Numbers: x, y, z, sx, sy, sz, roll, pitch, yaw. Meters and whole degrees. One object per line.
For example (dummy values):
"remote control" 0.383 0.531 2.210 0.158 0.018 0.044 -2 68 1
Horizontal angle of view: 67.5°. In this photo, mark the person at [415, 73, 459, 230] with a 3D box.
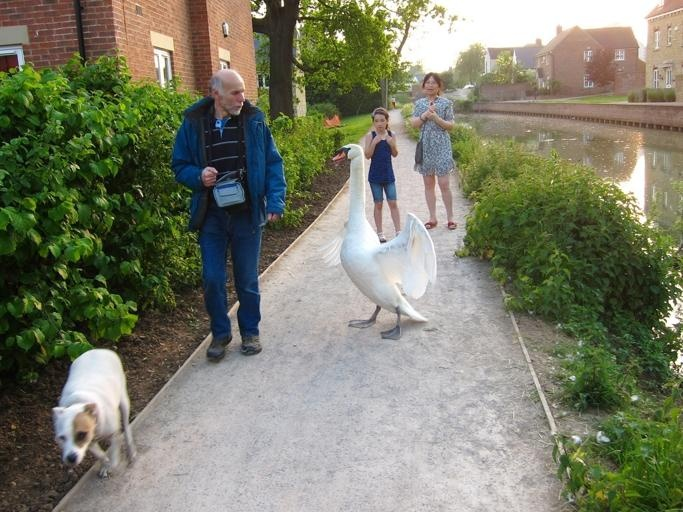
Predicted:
"person" 1.668 -1.843 9.324 0.809 2.651 1.005 0 2 9

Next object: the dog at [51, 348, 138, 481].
"dog" -1.740 1.182 3.603 0.413 0.867 0.830 -5 14 -12

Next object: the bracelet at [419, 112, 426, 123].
"bracelet" 1.427 -2.432 8.953 0.101 0.153 0.130 -15 23 -14

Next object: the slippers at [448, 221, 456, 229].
"slippers" 1.972 -0.552 9.174 0.105 0.094 0.321 -2 1 6

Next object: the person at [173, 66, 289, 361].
"person" -1.108 -0.367 5.069 1.022 2.856 0.935 -1 9 -2

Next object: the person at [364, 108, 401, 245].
"person" 0.744 -1.340 8.485 0.654 2.130 0.517 -1 9 10
